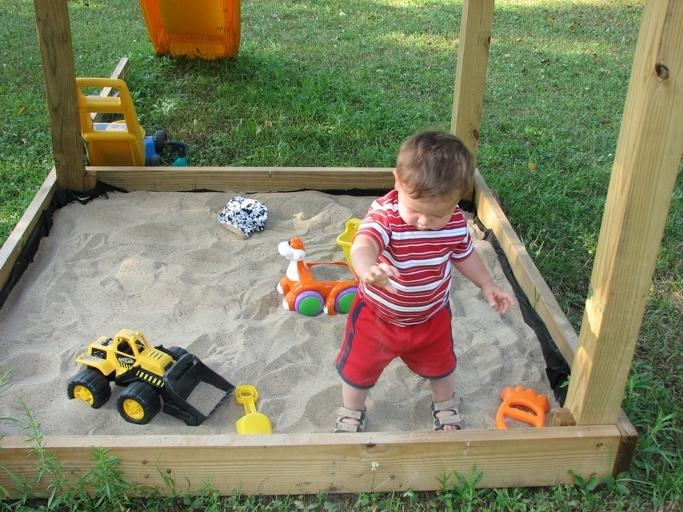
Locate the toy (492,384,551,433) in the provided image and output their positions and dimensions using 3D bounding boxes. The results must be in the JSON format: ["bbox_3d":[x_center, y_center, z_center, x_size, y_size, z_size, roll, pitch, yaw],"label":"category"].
[{"bbox_3d":[0.921,0.822,2.978,0.250,0.119,0.356,9,35,20],"label":"toy"}]

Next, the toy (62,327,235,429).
[{"bbox_3d":[-0.993,0.593,3.007,0.757,0.366,0.436,15,29,9],"label":"toy"}]

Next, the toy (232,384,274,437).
[{"bbox_3d":[-0.462,0.789,2.946,0.184,0.057,0.407,-2,23,-22],"label":"toy"}]

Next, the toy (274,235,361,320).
[{"bbox_3d":[-0.132,0.092,3.782,0.577,0.411,0.608,2,17,-5],"label":"toy"}]
